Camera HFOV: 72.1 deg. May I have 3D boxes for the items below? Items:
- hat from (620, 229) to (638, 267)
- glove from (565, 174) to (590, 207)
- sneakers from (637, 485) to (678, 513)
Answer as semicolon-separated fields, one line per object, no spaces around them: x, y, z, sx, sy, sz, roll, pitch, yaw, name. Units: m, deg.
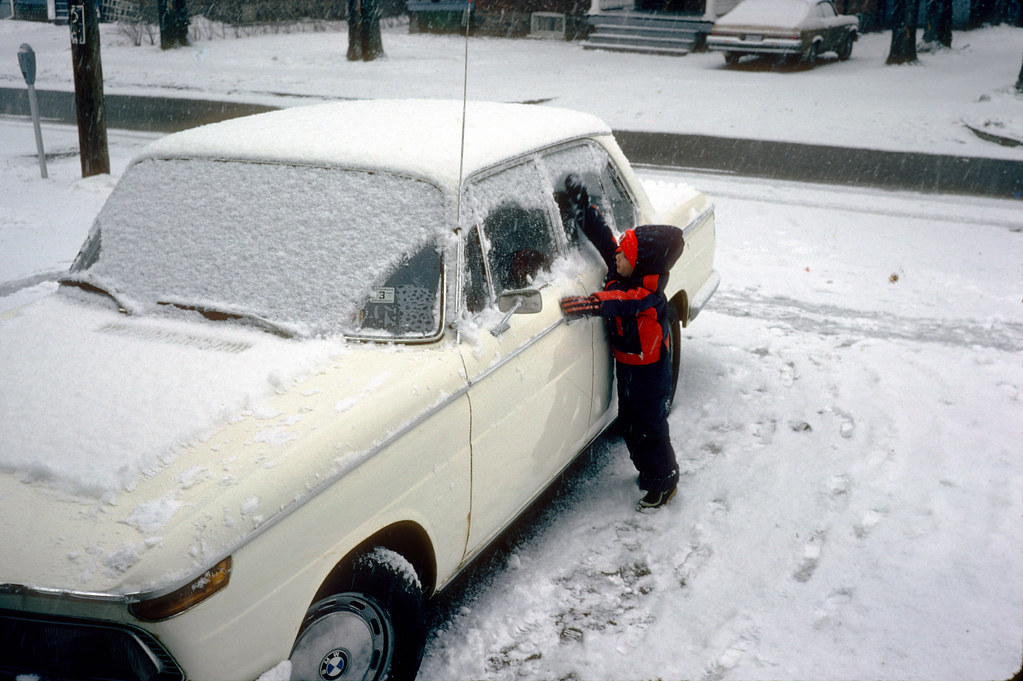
0.747;-0.590;4.465;0.091;0.185;0.142;-18;28;5;hat
0.442;-1.010;4.691;0.092;0.327;0.129;4;20;30;glove
1.040;1.079;4.935;0.123;0.140;0.348;16;33;41;sneakers
